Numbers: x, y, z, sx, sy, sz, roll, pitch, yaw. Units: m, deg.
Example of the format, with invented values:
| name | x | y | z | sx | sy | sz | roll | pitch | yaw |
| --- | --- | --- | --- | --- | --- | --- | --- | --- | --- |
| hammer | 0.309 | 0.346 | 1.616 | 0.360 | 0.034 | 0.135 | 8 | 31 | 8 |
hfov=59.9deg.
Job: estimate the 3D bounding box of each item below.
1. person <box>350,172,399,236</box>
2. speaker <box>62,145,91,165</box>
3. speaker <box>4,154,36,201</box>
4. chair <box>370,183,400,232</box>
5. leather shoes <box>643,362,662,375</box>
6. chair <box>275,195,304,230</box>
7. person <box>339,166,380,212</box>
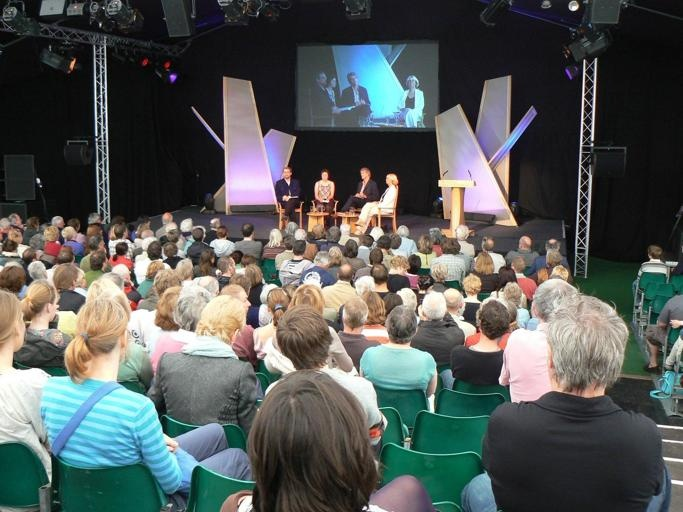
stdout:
| name | x | y | z | sx | sy | sz | roll | pitch | yaw |
| --- | --- | --- | --- | --- | --- | --- | --- | --- | --- |
| person | 0.745 | -1.051 | 11.710 | 0.723 | 1.321 | 0.606 | -3 | 25 | -9 |
| speaker | -4.811 | -1.863 | 10.776 | 0.325 | 0.388 | 0.387 | 1 | 5 | 4 |
| speaker | -6.137 | -1.511 | 11.250 | 0.552 | 0.834 | 0.224 | 3 | 3 | -2 |
| chair | 0.836 | -0.950 | 11.657 | 0.444 | 0.939 | 0.505 | -9 | 33 | -13 |
| leather shoes | 3.284 | 1.178 | 6.221 | 0.074 | 0.068 | 0.148 | -8 | 17 | -34 |
| chair | -1.096 | -0.943 | 12.446 | 0.579 | 1.155 | 0.745 | -1 | 11 | -10 |
| person | 0.335 | -1.315 | 12.121 | 0.755 | 1.092 | 0.556 | 4 | 0 | -24 |
